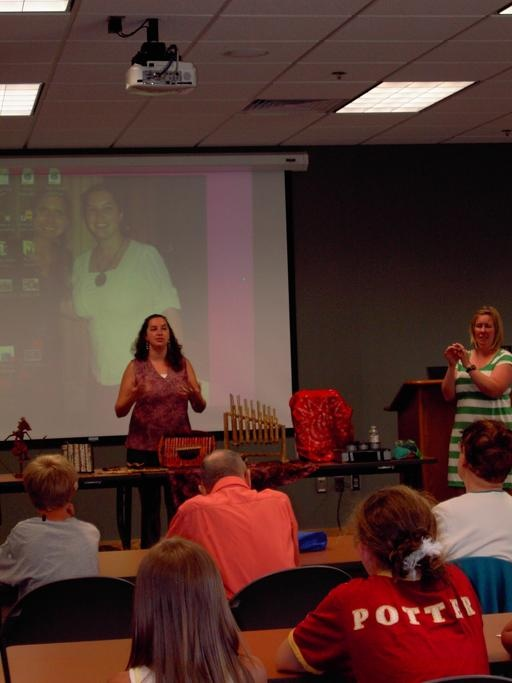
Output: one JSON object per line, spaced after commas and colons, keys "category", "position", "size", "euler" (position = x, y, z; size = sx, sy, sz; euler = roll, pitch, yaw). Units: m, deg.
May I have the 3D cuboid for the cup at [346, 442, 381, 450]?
{"category": "cup", "position": [0.733, 0.715, 4.183], "size": [0.237, 0.053, 0.062], "euler": [-1, -2, -17]}

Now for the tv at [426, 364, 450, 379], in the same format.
{"category": "tv", "position": [1.456, 0.249, 4.892], "size": [0.203, 0.165, 0.100], "euler": [0, -1, -10]}

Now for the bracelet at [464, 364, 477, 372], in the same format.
{"category": "bracelet", "position": [1.335, 0.171, 3.813], "size": [0.063, 0.035, 0.055], "euler": [-6, -14, -9]}

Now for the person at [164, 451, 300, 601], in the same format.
{"category": "person", "position": [-0.095, 0.749, 2.116], "size": [0.453, 0.704, 0.398], "euler": [0, 10, 1]}

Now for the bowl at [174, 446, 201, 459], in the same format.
{"category": "bowl", "position": [-0.436, 0.728, 4.006], "size": [0.122, 0.057, 0.075], "euler": [-3, -1, 1]}
